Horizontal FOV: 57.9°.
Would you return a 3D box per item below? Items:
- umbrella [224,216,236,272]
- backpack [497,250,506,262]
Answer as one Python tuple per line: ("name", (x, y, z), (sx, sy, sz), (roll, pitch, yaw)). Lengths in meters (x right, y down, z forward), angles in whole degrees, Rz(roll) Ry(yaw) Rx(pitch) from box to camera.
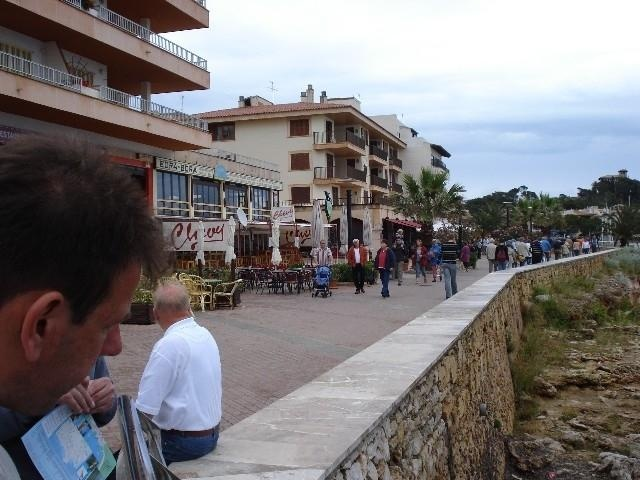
("umbrella", (-2.694, -0.004, 17.210), (0.296, 1.107, 1.475), (0, -1, -10))
("backpack", (8.303, 0.699, 26.628), (0.451, 0.708, 0.374), (3, 5, 32))
